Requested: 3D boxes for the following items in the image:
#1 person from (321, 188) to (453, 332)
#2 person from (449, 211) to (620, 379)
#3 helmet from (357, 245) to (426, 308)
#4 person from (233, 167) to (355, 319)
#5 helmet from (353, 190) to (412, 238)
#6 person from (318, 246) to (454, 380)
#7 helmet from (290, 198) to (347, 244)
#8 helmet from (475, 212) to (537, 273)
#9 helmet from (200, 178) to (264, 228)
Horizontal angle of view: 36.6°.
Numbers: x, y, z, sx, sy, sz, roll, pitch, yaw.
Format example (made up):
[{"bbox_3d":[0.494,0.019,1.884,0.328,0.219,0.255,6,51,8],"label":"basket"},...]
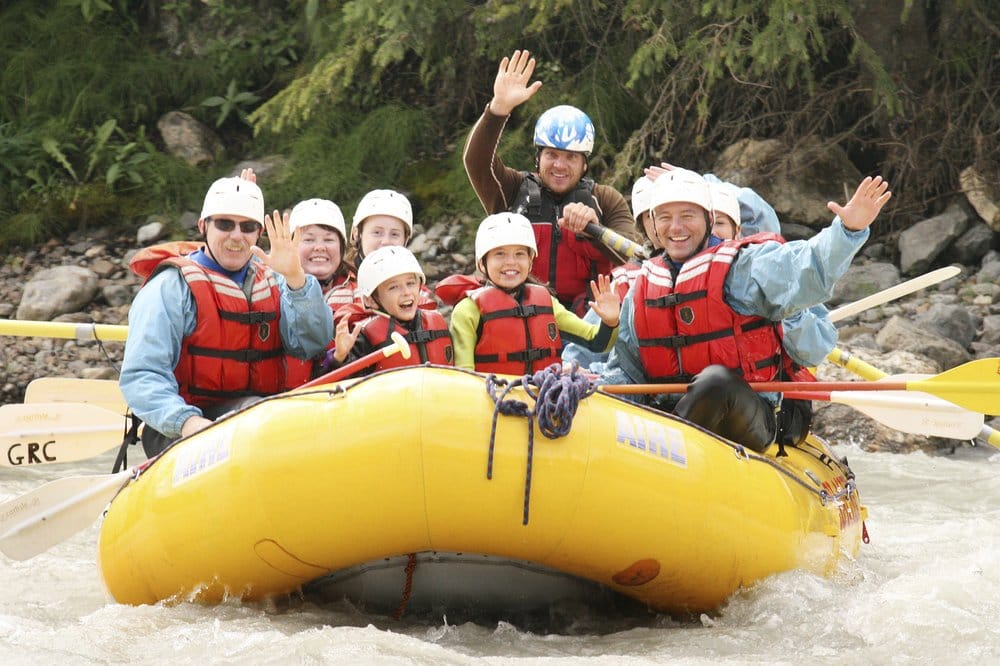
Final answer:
[{"bbox_3d":[-0.932,-0.415,11.162,0.645,1.083,0.548,4,24,-18],"label":"person"},{"bbox_3d":[0.233,0.167,10.799,1.184,2.022,0.960,-1,-3,-7],"label":"person"},{"bbox_3d":[-0.783,-0.441,10.704,0.498,0.436,0.458,-8,4,23],"label":"helmet"},{"bbox_3d":[-1.421,-0.615,10.722,0.512,0.801,1.467,-2,-2,-9],"label":"person"},{"bbox_3d":[-0.882,-0.920,11.439,0.281,0.324,0.411,4,-32,-4],"label":"helmet"},{"bbox_3d":[-0.836,-0.114,10.551,0.743,1.094,0.453,-3,-19,-13],"label":"person"},{"bbox_3d":[-1.362,-0.883,11.286,0.430,0.338,0.626,0,-7,-4],"label":"helmet"},{"bbox_3d":[0.007,-0.721,10.919,0.277,0.326,0.413,-3,-21,-5],"label":"helmet"},{"bbox_3d":[-1.916,-0.931,10.726,0.476,0.365,0.662,4,-1,-10],"label":"helmet"}]
